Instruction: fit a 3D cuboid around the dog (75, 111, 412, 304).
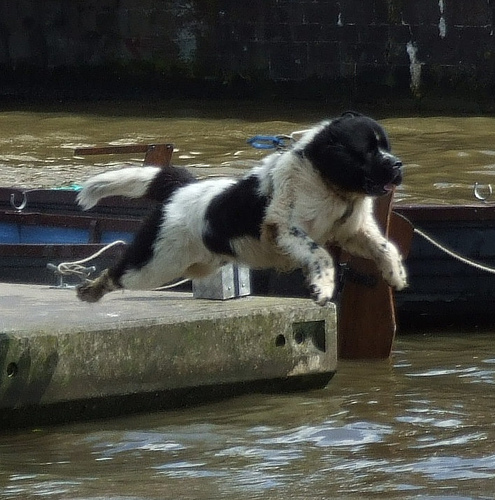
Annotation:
[{"bbox_3d":[-0.040,-0.195,7.679,2.245,0.991,0.896,-4,-2,29],"label":"dog"}]
